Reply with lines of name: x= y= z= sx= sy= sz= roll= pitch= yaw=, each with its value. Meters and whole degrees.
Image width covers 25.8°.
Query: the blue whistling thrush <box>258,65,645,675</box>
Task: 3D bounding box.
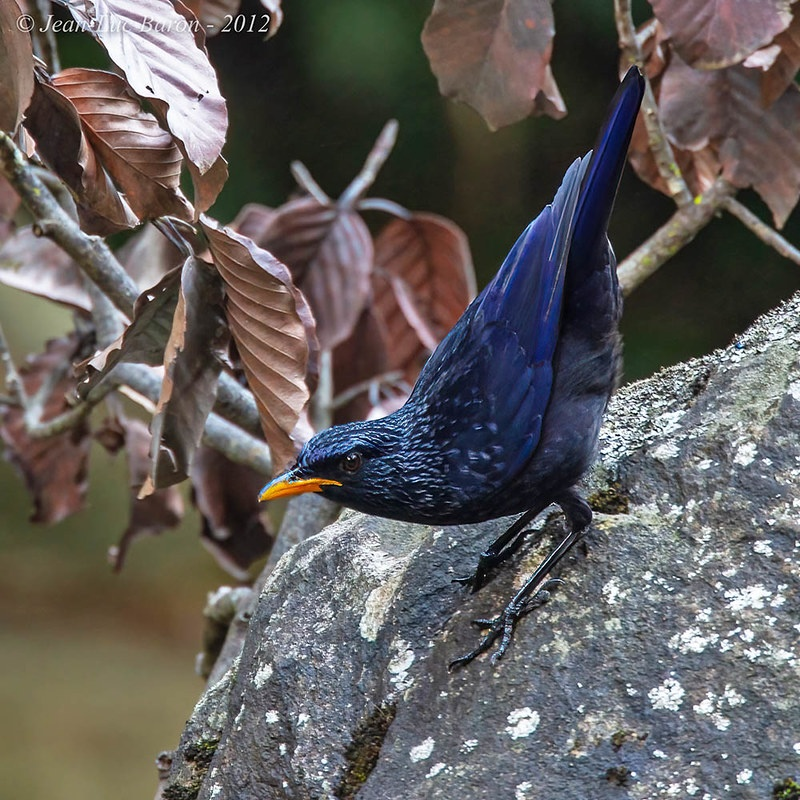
blue whistling thrush: x=0.193 y=-0.081 z=3.745 sx=0.967 sy=0.980 sz=0.475 roll=-37 pitch=38 yaw=-27
